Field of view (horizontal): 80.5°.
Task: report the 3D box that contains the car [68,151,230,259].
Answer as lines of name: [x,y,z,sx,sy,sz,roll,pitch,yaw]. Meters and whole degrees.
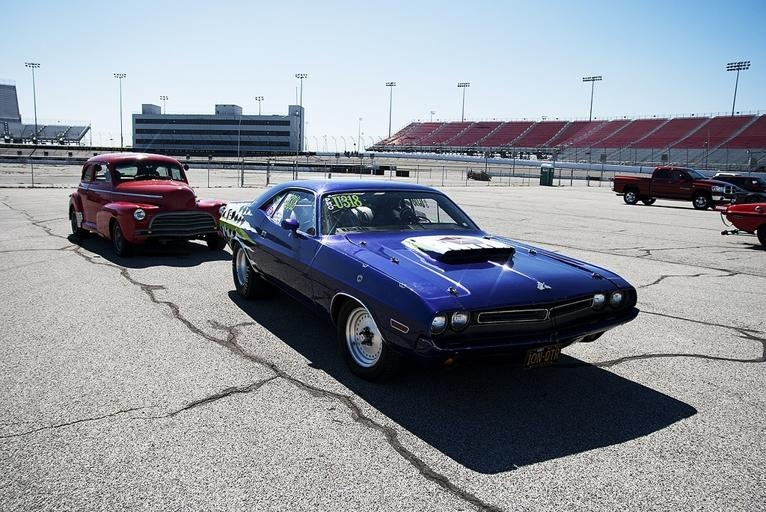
car: [-5.932,-1.325,11.190,2.491,1.687,4.060,-3,8,-43]

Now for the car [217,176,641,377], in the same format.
car: [-0.173,0.001,6.119,2.334,2.046,5.923,-6,12,-40]

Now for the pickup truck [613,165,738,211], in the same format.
pickup truck: [16.328,-3.793,25.687,2.476,1.806,5.337,-7,9,-41]
